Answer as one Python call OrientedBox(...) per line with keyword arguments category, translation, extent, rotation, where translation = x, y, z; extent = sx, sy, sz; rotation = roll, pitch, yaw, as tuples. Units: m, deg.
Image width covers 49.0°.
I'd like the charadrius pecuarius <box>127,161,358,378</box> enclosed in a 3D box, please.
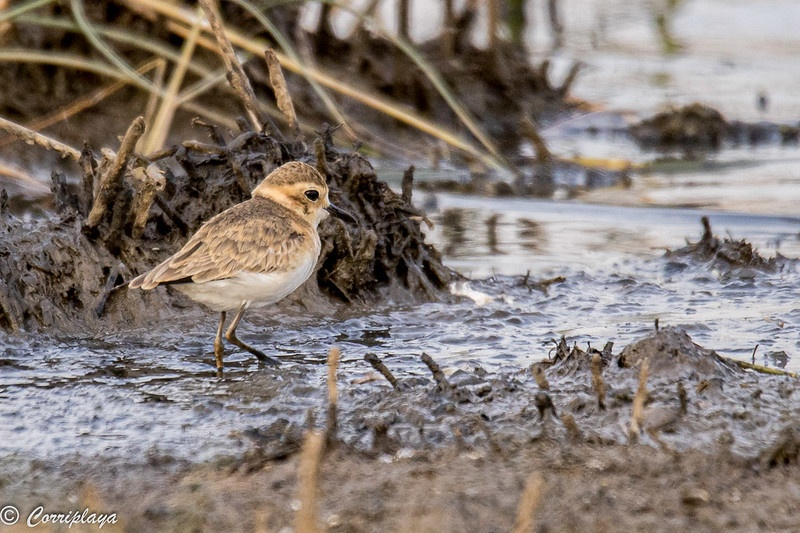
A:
OrientedBox(category="charadrius pecuarius", translation=(-1.488, -0.042, 7.959), extent=(2.291, 1.687, 1.050), rotation=(-4, 4, -30))
